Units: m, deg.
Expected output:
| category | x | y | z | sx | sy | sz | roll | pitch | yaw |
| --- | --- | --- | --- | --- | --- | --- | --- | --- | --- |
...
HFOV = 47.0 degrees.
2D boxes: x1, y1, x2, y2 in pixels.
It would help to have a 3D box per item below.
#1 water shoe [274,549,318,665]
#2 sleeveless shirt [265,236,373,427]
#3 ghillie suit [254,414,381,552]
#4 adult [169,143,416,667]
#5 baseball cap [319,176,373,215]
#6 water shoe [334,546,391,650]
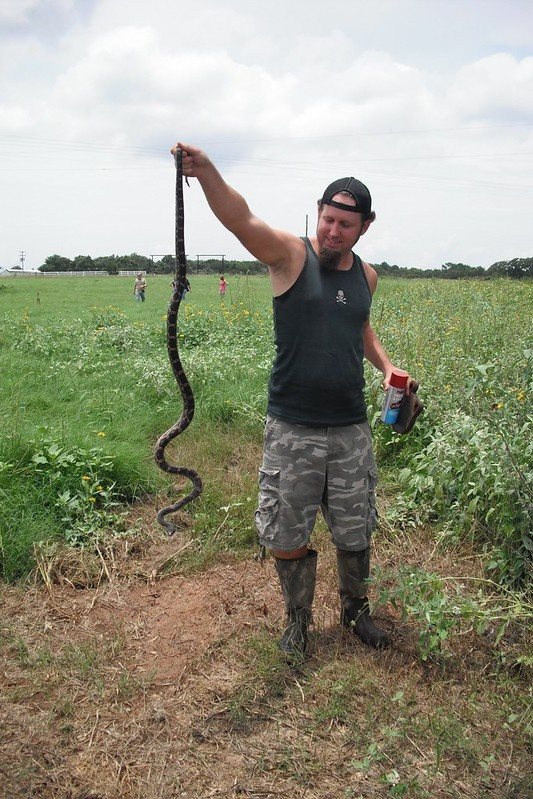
| category | x | y | z | sx | sy | sz | roll | pitch | yaw |
| --- | --- | --- | --- | --- | --- | --- | --- | --- | --- |
| water shoe | 0.144 | 0.978 | 3.010 | 0.143 | 0.382 | 0.349 | -6 | -8 | 16 |
| sleeveless shirt | 0.271 | -0.334 | 2.995 | 0.481 | 0.844 | 0.371 | 5 | 0 | -13 |
| ghillie suit | 0.262 | 0.357 | 3.038 | 0.601 | 0.754 | 0.302 | -1 | 13 | -2 |
| adult | 0.158 | 0.029 | 2.894 | 1.286 | 2.334 | 0.661 | -2 | 4 | -13 |
| baseball cap | 0.360 | -0.927 | 2.804 | 0.237 | 0.172 | 0.275 | 0 | 12 | 7 |
| water shoe | 0.509 | 0.996 | 3.150 | 0.145 | 0.451 | 0.322 | -5 | 4 | -31 |
